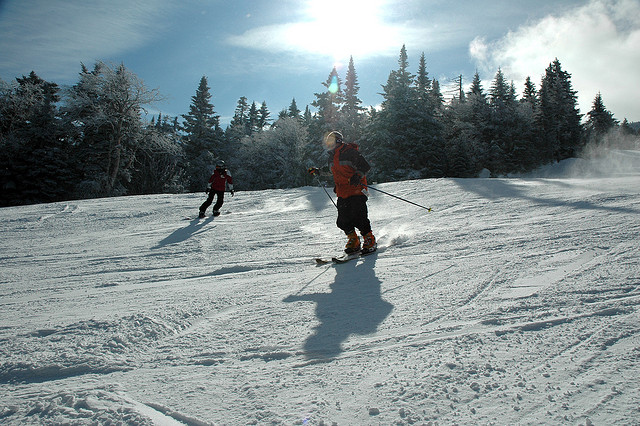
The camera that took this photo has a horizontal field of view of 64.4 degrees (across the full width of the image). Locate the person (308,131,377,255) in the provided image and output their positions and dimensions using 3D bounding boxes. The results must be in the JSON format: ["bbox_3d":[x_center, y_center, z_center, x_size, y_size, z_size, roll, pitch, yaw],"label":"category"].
[{"bbox_3d":[0.560,-0.396,9.337,0.735,2.127,1.192,-4,12,-3],"label":"person"}]

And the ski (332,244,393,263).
[{"bbox_3d":[0.761,0.728,9.024,1.454,0.144,0.211,-13,21,-34],"label":"ski"}]
